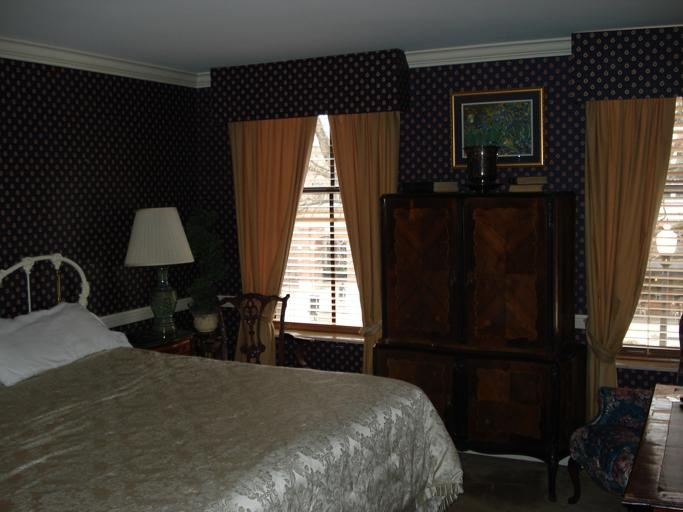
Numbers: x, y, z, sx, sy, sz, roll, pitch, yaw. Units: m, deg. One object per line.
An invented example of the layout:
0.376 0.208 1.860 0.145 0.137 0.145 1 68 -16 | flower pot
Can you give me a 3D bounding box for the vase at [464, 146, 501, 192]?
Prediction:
1.186 -0.732 4.999 0.348 0.470 0.341 0 -1 1 | vase
